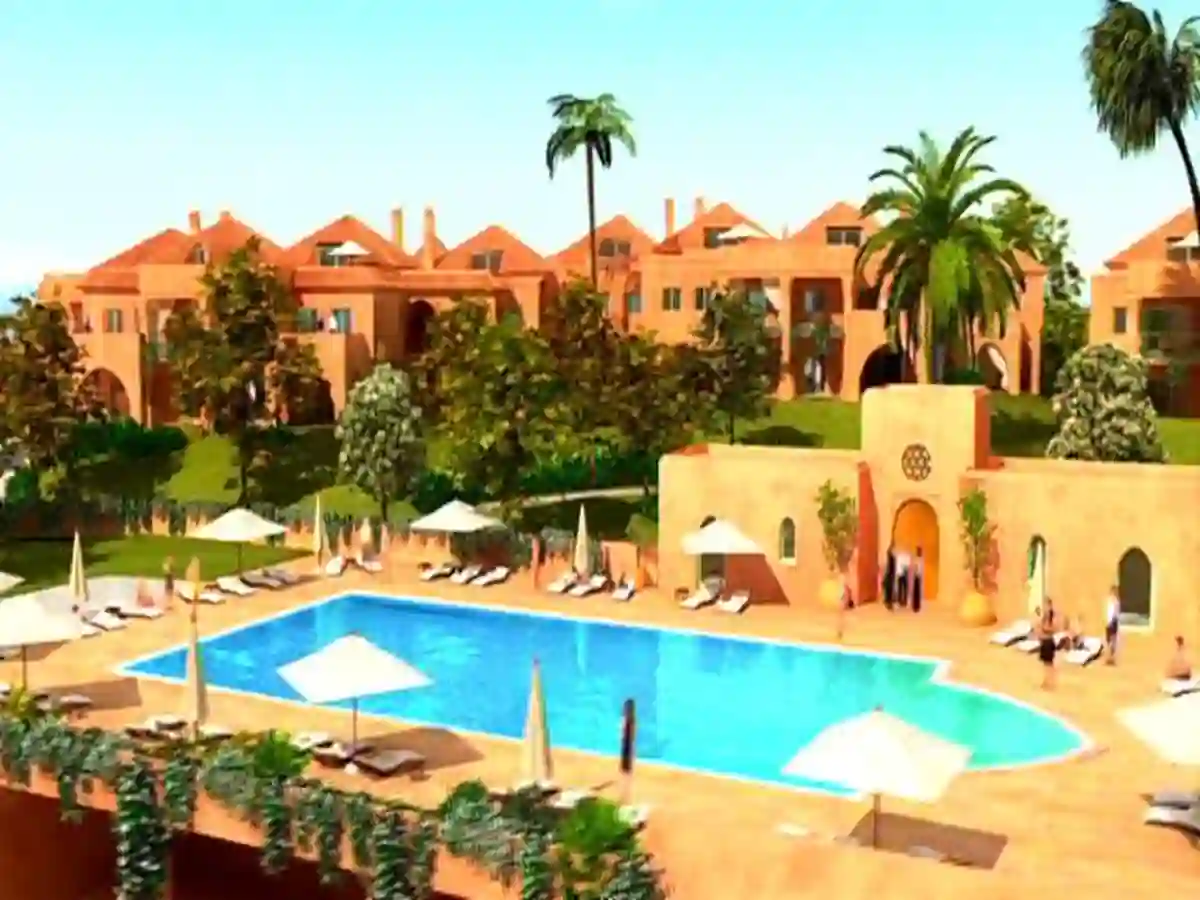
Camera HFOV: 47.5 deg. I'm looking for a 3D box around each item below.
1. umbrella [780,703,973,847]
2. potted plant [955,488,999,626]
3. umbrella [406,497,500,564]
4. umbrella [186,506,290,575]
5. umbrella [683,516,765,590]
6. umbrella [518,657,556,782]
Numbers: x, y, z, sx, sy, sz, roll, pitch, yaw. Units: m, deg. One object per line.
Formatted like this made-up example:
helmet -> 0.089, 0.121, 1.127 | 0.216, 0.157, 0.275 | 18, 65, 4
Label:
umbrella -> 5.450, 6.783, 27.214 | 2.729, 3.714, 2.259 | -3, 15, 3
potted plant -> 11.528, 3.140, 41.620 | 1.123, 4.003, 1.527 | 1, 10, 12
umbrella -> -4.919, 2.325, 46.037 | 1.762, 1.197, 1.675 | -3, 2, -27
umbrella -> -12.187, 2.515, 45.450 | 2.244, 2.135, 2.295 | 3, 6, 44
umbrella -> 3.872, 3.540, 43.350 | 1.911, 2.842, 1.596 | -2, 0, 38
umbrella -> -1.414, 6.117, 30.324 | 0.687, 3.003, 1.591 | -1, 10, -4
